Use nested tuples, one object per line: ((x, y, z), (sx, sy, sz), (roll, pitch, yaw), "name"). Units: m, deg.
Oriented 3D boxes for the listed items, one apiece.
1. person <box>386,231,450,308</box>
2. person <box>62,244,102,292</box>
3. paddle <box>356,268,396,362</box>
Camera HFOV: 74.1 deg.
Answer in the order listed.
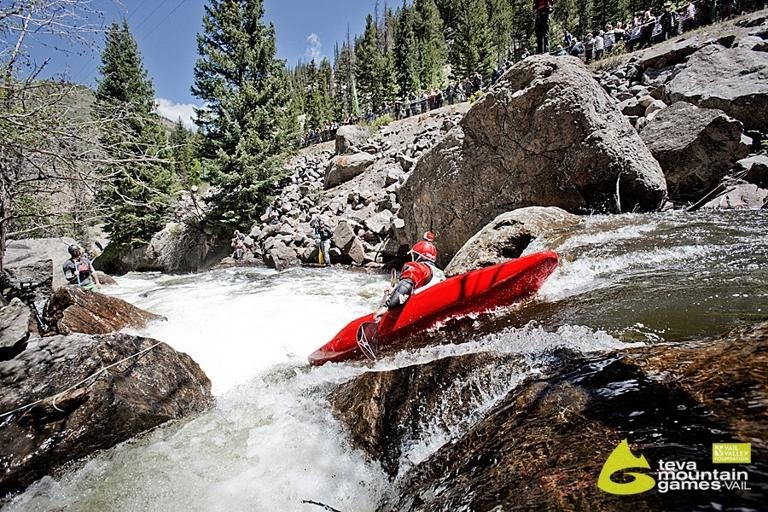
((0.861, 0.300, 12.215), (0.552, 1.247, 1.485), (23, 44, 25), "person")
((-7.465, 0.324, 12.462), (0.578, 0.865, 0.822), (-22, 15, -31), "person")
((-0.061, 1.043, 10.518), (0.543, 0.461, 2.205), (16, 63, 17), "paddle")
